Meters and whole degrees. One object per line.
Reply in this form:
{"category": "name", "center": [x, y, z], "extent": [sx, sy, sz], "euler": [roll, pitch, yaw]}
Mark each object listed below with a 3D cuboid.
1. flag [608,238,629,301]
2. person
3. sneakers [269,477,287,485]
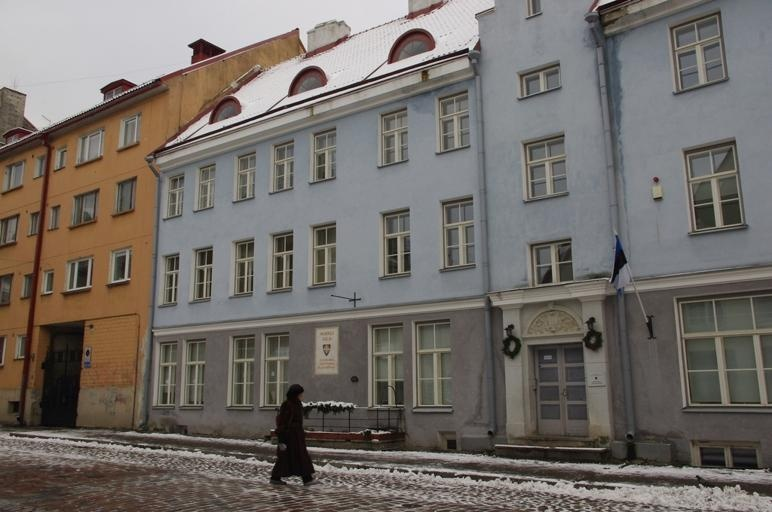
{"category": "flag", "center": [7.201, 0.198, 21.349], "extent": [0.564, 1.863, 0.662], "euler": [-5, -17, 15]}
{"category": "person", "center": [-2.388, 4.625, 17.965], "extent": [1.045, 2.530, 0.847], "euler": [3, -17, -10]}
{"category": "sneakers", "center": [-2.754, 5.819, 17.821], "extent": [0.427, 0.192, 0.163], "euler": [0, -15, 9]}
